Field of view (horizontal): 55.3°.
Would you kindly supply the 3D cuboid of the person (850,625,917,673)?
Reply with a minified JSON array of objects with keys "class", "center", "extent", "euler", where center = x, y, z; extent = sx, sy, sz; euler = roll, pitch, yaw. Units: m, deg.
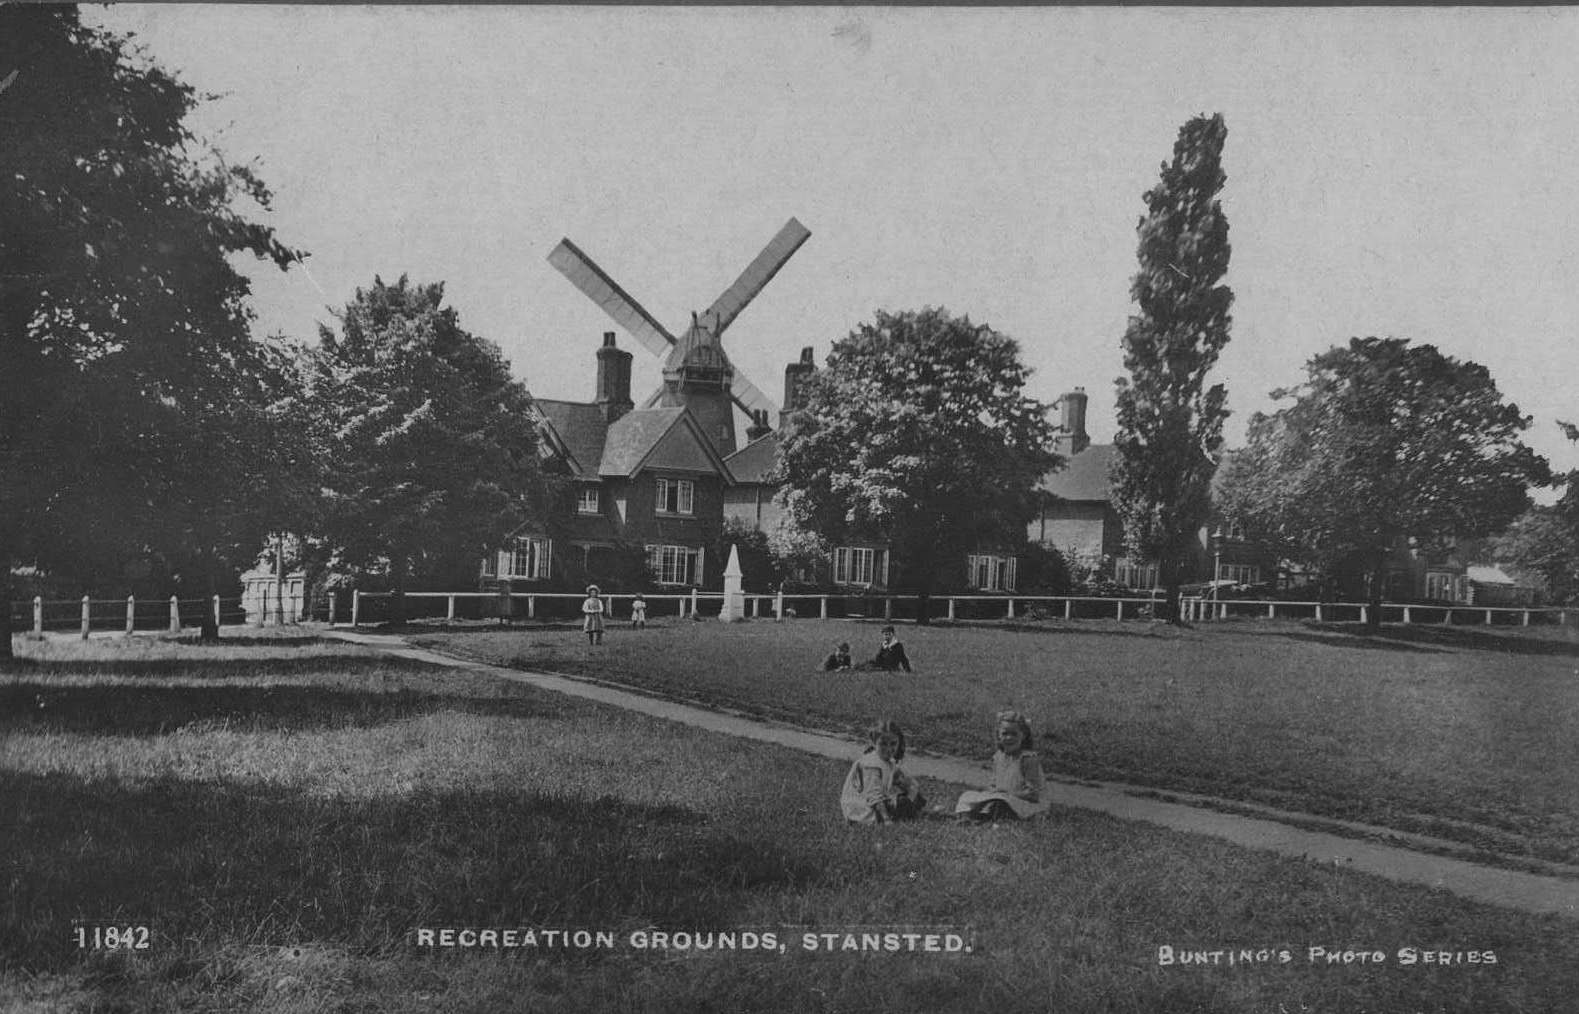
[{"class":"person","center":[1.200,1.931,19.477],"extent":[0.860,0.744,0.522],"euler":[1,-14,16]}]

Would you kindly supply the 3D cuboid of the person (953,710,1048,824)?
[{"class":"person","center":[2.537,3.058,17.748],"extent":[1.028,1.217,0.313],"euler":[0,-8,4]}]

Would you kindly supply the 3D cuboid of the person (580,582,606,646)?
[{"class":"person","center":[-2.762,1.555,21.135],"extent":[0.309,0.897,1.309],"euler":[2,-9,-8]}]

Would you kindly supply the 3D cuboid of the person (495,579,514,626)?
[{"class":"person","center":[-4.047,1.358,21.348],"extent":[0.207,0.719,1.047],"euler":[2,-9,-11]}]

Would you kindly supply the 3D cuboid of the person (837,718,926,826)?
[{"class":"person","center":[1.138,3.128,17.685],"extent":[1.058,1.436,1.042],"euler":[-2,6,-14]}]
